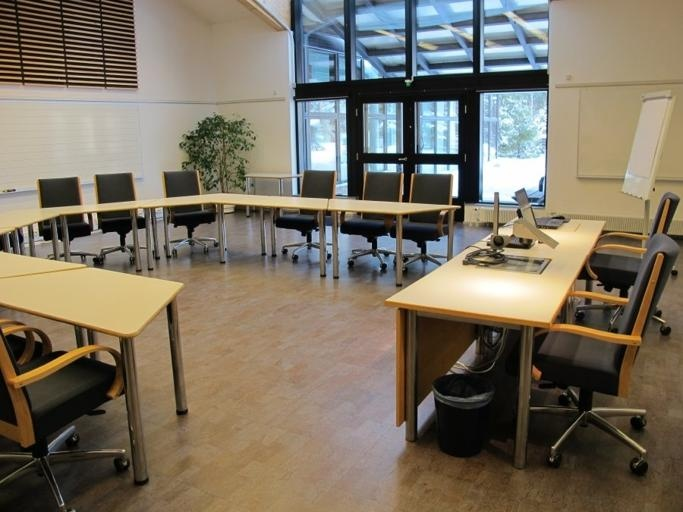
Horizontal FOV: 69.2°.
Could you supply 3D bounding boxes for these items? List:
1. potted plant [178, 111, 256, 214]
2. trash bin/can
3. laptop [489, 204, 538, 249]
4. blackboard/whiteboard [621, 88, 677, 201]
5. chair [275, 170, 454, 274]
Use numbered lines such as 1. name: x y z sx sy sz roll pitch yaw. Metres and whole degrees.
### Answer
1. potted plant: -2.917 -2.247 11.723 2.137 2.724 1.685 -4 10 -24
2. trash bin/can: 0.676 0.961 2.990 0.373 0.429 0.412 -2 13 0
3. laptop: 1.402 -0.208 4.059 0.386 0.400 0.384 1 10 19
4. blackboard/whiteboard: 4.124 -1.498 6.629 0.384 1.399 1.230 5 14 26
5. chair: 0.341 -0.429 6.918 1.627 1.382 0.875 3 8 29
